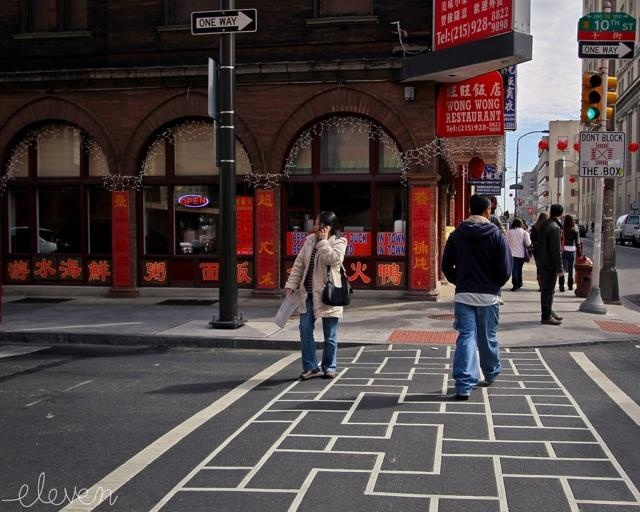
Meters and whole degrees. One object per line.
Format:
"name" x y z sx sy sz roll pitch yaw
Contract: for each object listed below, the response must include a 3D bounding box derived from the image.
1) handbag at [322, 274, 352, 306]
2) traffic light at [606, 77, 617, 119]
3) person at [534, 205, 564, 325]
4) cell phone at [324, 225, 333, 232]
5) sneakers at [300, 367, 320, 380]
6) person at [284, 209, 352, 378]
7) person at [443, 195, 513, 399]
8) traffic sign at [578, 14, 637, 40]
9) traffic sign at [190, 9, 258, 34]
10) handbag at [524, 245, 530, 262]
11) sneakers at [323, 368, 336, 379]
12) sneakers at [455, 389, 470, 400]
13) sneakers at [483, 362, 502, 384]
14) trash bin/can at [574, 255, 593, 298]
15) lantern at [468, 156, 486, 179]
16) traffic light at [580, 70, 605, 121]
"handbag" 0.184 0.421 9.277 0.343 0.412 0.178 3 -10 -22
"traffic light" 5.922 -3.259 15.461 0.159 0.985 1.726 1 5 22
"person" 4.019 0.195 13.343 0.454 1.873 1.270 1 4 17
"cell phone" 0.113 -0.338 9.443 0.049 0.089 0.109 3 5 38
"sneakers" -0.115 1.480 9.549 0.097 0.135 0.291 -5 -8 30
"person" -0.045 0.493 9.478 0.717 2.070 0.479 0 4 5
"person" 1.809 0.569 8.699 0.767 2.004 0.725 0 4 3
"traffic sign" 5.418 -4.343 14.363 1.005 0.611 0.456 1 4 16
"traffic sign" -1.572 -3.873 12.521 1.110 0.408 0.336 2 5 21
"handbag" 5.279 -0.069 19.447 0.173 0.479 0.144 1 -39 11
"sneakers" 0.109 1.472 9.481 0.084 0.098 0.238 -1 -7 5
"sneakers" 1.587 1.551 8.487 0.159 0.101 0.162 1 5 10
"sneakers" 2.069 1.446 9.170 0.145 0.148 0.384 -6 -22 8
"trash bin/can" 5.927 0.506 17.154 0.327 0.870 0.814 1 4 14
"lantern" 3.962 -2.211 19.270 0.342 0.598 0.419 3 -3 -12
"traffic light" 5.184 -3.021 14.508 0.376 0.969 0.374 1 4 21
